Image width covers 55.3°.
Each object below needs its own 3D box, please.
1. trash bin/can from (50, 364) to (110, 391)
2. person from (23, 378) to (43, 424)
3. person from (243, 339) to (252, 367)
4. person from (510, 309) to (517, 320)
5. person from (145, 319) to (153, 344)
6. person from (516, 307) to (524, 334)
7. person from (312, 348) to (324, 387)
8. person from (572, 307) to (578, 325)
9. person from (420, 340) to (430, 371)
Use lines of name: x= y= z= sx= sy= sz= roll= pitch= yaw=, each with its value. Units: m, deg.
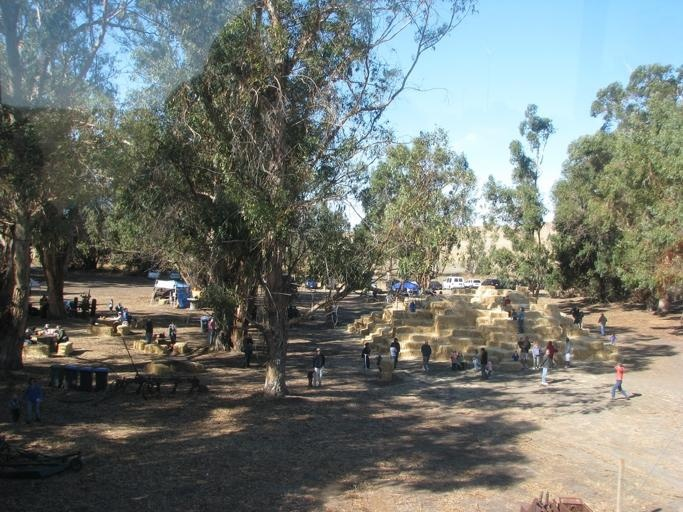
trash bin/can: x=-11.077 y=5.232 z=27.720 sx=2.477 sy=1.113 sz=0.695 roll=-4 pitch=-6 yaw=13
person: x=-11.566 y=5.390 z=24.458 sx=0.641 sy=1.575 sz=3.034 roll=1 pitch=-8 yaw=-25
person: x=-4.909 y=5.041 z=34.278 sx=0.350 sy=1.541 sz=1.243 roll=-1 pitch=-6 yaw=-10
person: x=9.949 y=3.398 z=37.523 sx=0.337 sy=0.581 sz=1.054 roll=-3 pitch=-7 yaw=13
person: x=-11.101 y=4.393 z=37.566 sx=0.328 sy=1.212 sz=0.873 roll=0 pitch=-6 yaw=-21
person: x=10.131 y=3.633 z=36.825 sx=0.486 sy=1.538 sz=1.373 roll=-3 pitch=-6 yaw=14
person: x=-1.123 y=5.278 z=30.629 sx=0.523 sy=1.703 sz=1.377 roll=-1 pitch=-6 yaw=-3
person: x=15.544 y=4.010 z=43.088 sx=0.351 sy=1.040 sz=0.877 roll=-4 pitch=-6 yaw=22
person: x=4.435 y=5.286 z=34.203 sx=0.423 sy=1.534 sz=2.107 roll=-2 pitch=-7 yaw=8
